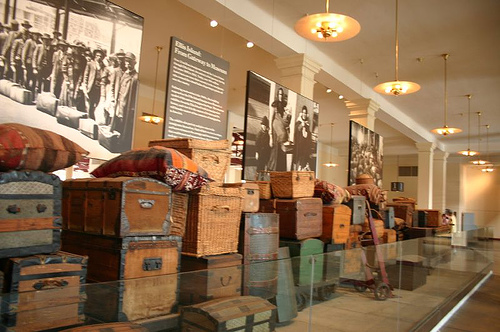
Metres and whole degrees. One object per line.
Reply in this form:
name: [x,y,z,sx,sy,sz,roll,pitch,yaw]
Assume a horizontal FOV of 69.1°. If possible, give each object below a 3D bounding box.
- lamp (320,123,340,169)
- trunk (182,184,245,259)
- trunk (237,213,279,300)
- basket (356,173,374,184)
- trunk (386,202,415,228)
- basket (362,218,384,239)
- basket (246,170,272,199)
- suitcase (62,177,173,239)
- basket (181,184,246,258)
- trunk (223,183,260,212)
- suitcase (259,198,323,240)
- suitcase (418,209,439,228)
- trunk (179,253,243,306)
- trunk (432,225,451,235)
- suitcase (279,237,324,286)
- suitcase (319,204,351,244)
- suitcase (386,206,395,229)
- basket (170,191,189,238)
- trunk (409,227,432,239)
lamp: [5.159,-1.390,23.724,0.936,2.522,0.401,13,-3,-15]
trunk: [-0.457,0.636,4.254,0.789,0.743,1.131,1,-4,29]
trunk: [0.119,0.963,3.983,0.413,0.661,0.399,2,-4,-27]
basket: [2.812,0.294,8.896,0.308,0.163,0.297,-2,-3,36]
trunk: [4.467,1.371,10.557,0.650,0.359,0.599,4,-16,32]
basket: [2.646,1.309,7.797,0.341,0.434,0.987,1,-3,25]
basket: [0.119,0.401,6.349,0.380,0.414,0.513,-1,-11,20]
suitcase: [-1.515,0.425,4.268,0.909,0.613,1.496,3,-4,-43]
basket: [-0.544,0.626,4.473,0.661,0.757,0.732,3,0,40]
trunk: [-0.108,0.466,5.324,0.433,0.345,0.644,1,-6,-27]
suitcase: [0.675,0.772,6.029,0.827,0.541,1.054,3,-4,-44]
suitcase: [5.745,1.637,11.648,0.691,0.542,0.407,6,-4,-44]
trunk: [-0.404,0.974,3.154,0.595,0.328,0.587,-3,-7,40]
trunk: [6.126,2.016,11.630,0.424,0.249,2.479,1,-3,30]
suitcase: [0.580,1.099,4.274,0.393,0.359,0.622,2,-3,-35]
suitcase: [1.458,0.993,6.312,0.339,0.694,0.548,1,-4,31]
suitcase: [3.415,1.244,8.856,0.152,0.529,0.498,2,-4,22]
basket: [-0.803,0.525,4.088,0.199,0.443,0.179,-1,7,-14]
trunk: [4.766,1.954,10.147,0.410,0.332,0.664,-1,-2,31]
